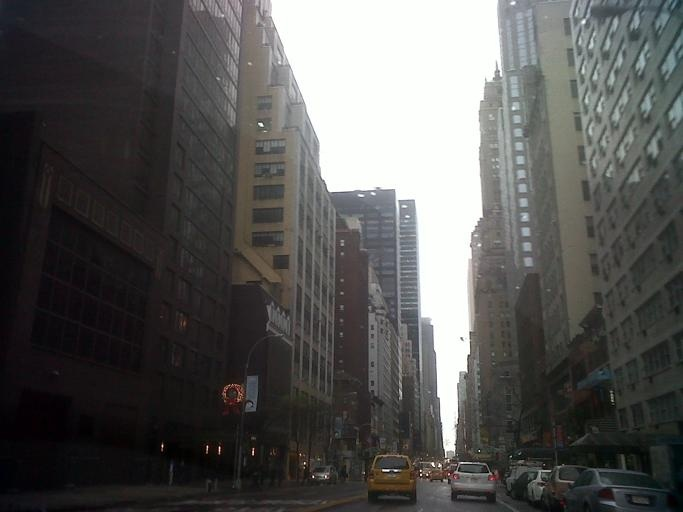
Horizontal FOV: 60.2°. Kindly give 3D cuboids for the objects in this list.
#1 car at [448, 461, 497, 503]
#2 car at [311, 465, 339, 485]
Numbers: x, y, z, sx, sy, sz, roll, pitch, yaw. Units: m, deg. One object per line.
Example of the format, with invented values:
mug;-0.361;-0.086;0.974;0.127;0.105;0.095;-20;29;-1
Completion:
car;6.868;11.870;31.526;1.358;1.348;2.928;0;-10;6
car;-1.831;22.418;60.630;1.488;1.490;2.947;-4;-28;10
